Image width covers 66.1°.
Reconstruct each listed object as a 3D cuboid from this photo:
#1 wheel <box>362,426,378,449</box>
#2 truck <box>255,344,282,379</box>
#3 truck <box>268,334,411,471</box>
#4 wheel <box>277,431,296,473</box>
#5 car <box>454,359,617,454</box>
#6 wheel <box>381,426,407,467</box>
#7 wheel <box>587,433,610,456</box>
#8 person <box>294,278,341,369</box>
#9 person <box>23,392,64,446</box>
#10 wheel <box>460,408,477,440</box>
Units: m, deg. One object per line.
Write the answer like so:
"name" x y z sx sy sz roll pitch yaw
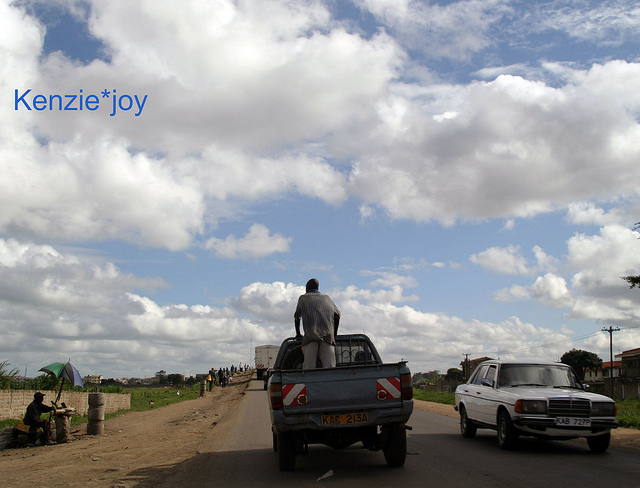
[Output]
"wheel" 0.932 3.544 9.123 0.358 0.433 0.494 -1 -44 6
"truck" -6.010 13.650 60.137 3.208 3.779 6.084 -2 1 -4
"truck" 0.174 3.284 10.743 2.479 2.421 4.994 -2 -13 -5
"wheel" -0.579 3.698 8.729 0.283 0.807 0.803 -2 -9 0
"car" 5.292 3.962 12.222 2.318 2.120 3.161 2 -16 -6
"wheel" 1.348 3.716 8.992 0.419 0.733 0.498 0 -16 2
"wheel" 6.328 4.531 11.154 0.433 0.421 0.426 0 -16 0
"person" 0.001 1.497 9.377 0.831 1.760 0.668 6 -17 -20
"person" -8.784 5.555 15.576 0.996 1.568 0.789 9 -18 -28
"wheel" 4.084 4.949 13.508 0.418 0.767 1.040 -4 -17 15
